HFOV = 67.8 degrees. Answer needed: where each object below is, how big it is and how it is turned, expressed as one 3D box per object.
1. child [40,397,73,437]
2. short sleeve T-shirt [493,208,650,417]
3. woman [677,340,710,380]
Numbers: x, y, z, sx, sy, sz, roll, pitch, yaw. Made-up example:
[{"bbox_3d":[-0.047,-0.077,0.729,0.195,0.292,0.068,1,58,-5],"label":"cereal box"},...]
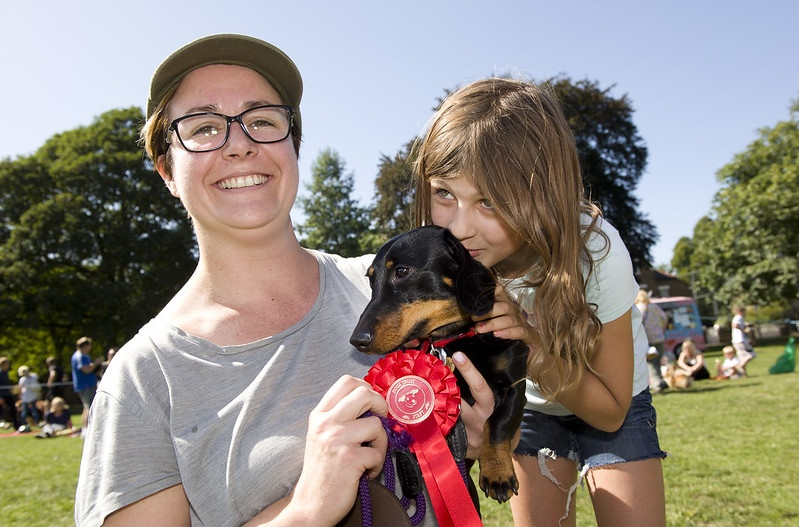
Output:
[{"bbox_3d":[-8.576,3.865,14.980,0.688,1.035,0.992,-4,-10,-23],"label":"child"},{"bbox_3d":[1.355,0.429,4.850,0.789,1.431,1.225,8,-27,-10],"label":"short sleeve T-shirt"},{"bbox_3d":[7.857,2.781,15.980,0.566,1.261,1.254,-18,-5,28],"label":"woman"}]
